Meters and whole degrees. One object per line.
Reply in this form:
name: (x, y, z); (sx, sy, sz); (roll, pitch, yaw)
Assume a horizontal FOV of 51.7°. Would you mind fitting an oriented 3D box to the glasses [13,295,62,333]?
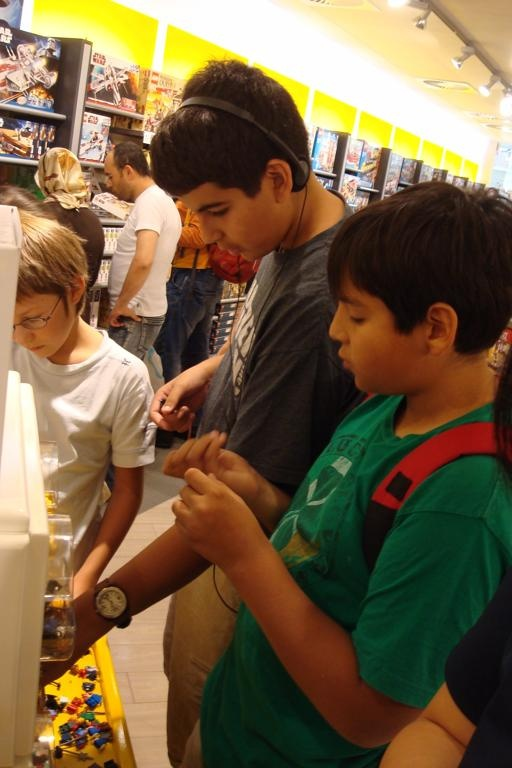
glasses: (-0.557, -0.163, 1.352); (0.090, 0.094, 0.029); (-10, -34, 43)
